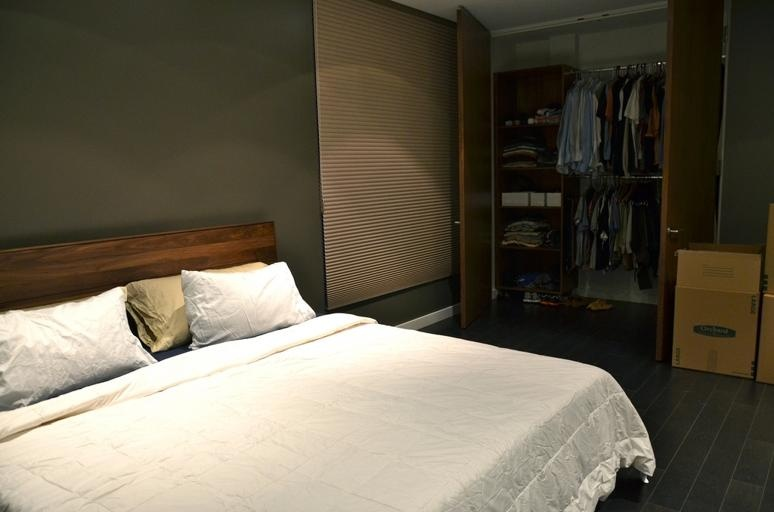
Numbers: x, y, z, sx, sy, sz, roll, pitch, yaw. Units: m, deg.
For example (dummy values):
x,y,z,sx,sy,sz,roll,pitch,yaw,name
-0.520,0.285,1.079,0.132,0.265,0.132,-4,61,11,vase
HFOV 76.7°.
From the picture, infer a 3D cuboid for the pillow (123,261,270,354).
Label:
x,y,z,sx,sy,sz,roll,pitch,yaw,name
-1.239,0.351,3.148,0.782,0.446,0.205,-10,-3,-33,pillow
